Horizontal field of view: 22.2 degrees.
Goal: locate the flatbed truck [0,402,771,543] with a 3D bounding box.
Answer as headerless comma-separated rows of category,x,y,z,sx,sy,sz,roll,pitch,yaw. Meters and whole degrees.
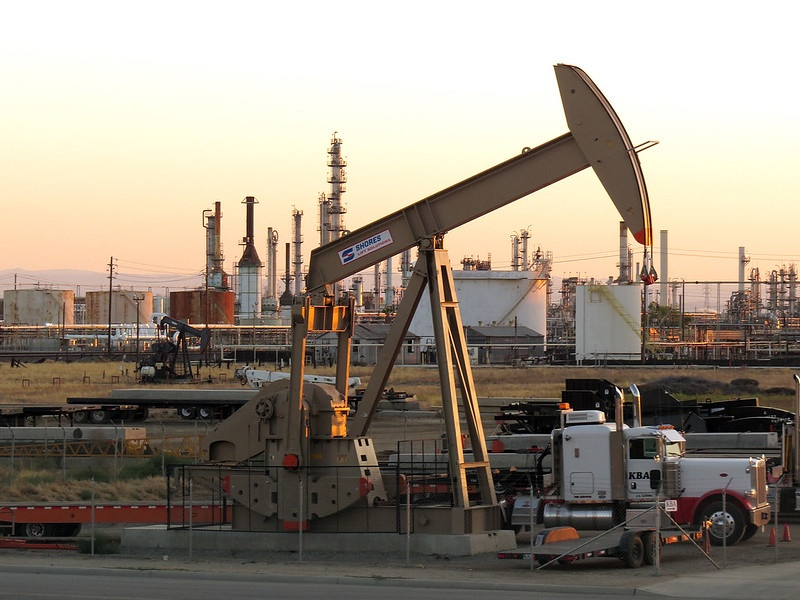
flatbed truck,-0.235,6.499,74.373,26.995,6.017,3.980,-2,3,7

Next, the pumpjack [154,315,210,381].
pumpjack,-14.039,3.210,130.412,3.882,4.180,3.995,1,-1,39

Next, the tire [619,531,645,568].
tire,7.591,8.494,68.900,0.349,1.050,1.093,-10,-17,43

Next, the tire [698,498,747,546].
tire,10.848,7.724,70.404,1.824,1.752,0.599,0,0,11
